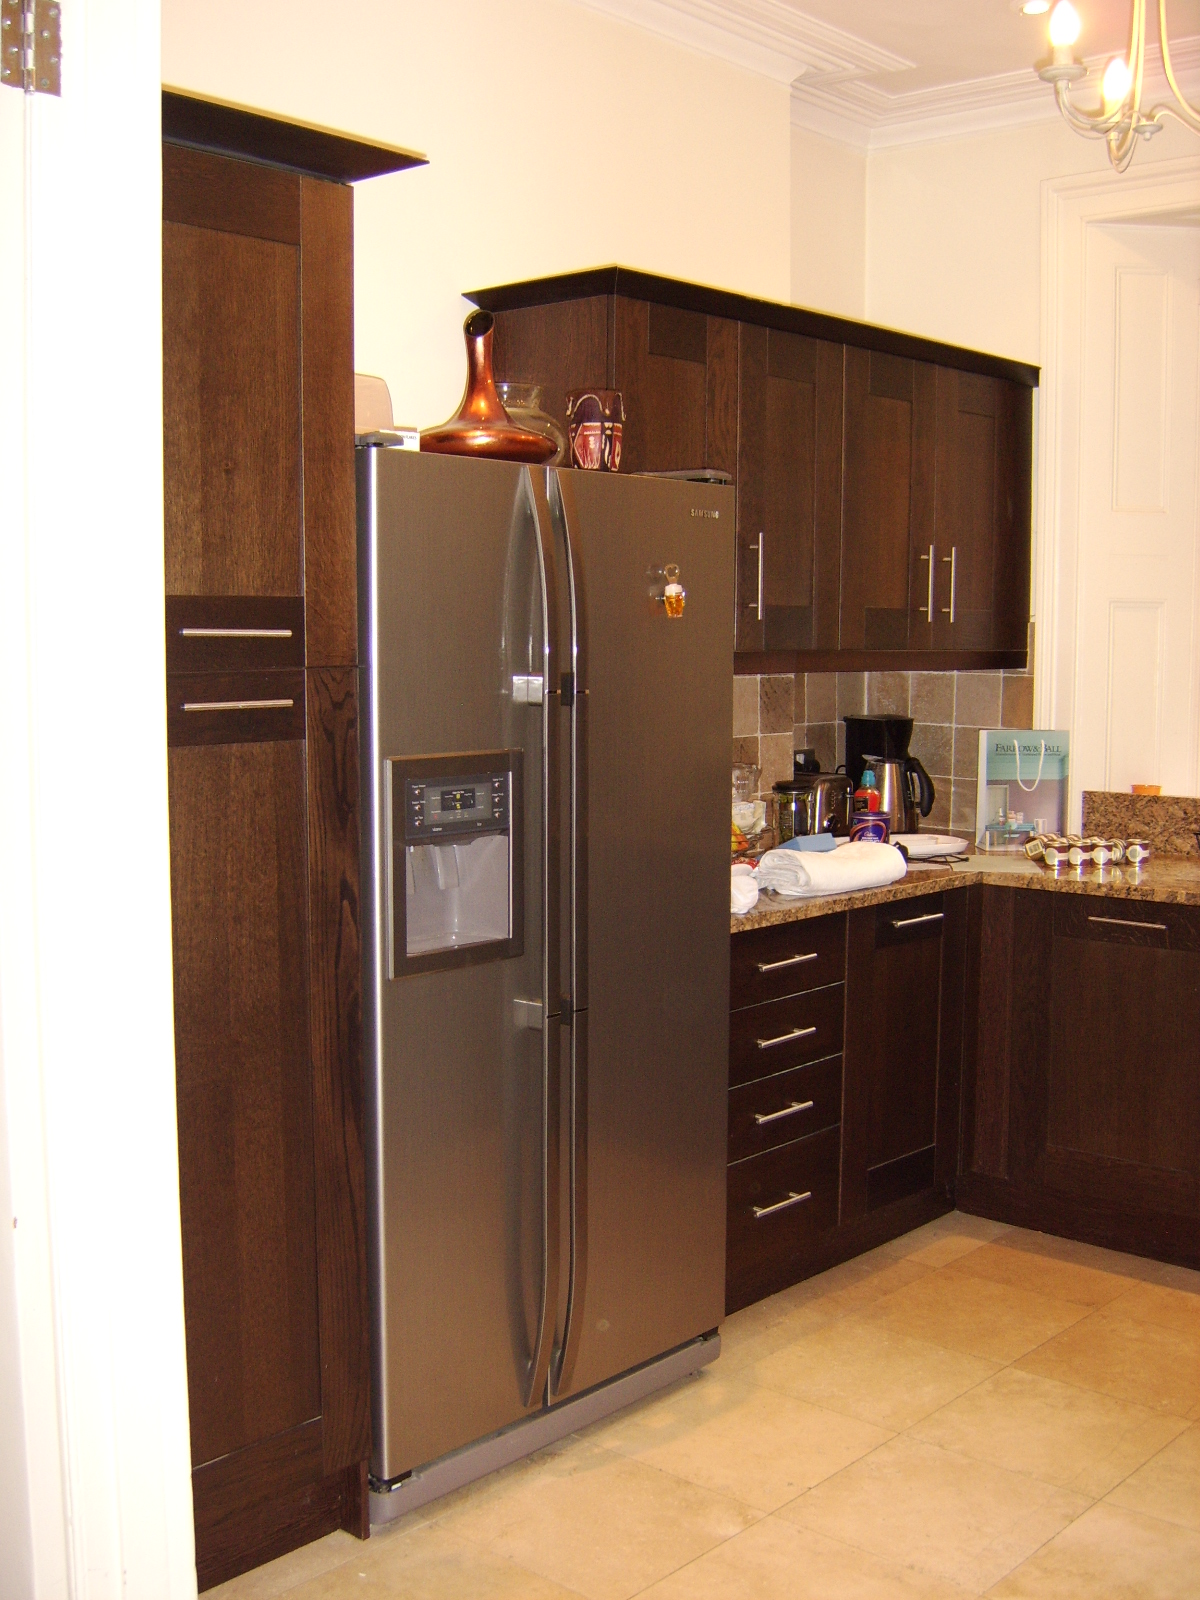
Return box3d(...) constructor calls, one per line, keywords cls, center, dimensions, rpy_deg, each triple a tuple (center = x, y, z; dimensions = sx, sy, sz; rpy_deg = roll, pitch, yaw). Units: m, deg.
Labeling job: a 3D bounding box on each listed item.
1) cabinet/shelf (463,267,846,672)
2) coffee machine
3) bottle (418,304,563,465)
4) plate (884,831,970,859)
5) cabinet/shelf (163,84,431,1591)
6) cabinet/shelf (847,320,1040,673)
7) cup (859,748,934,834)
box3d(cls="cabinet/shelf", center=(0.255, -0.683, 3.077), dimensions=(0.861, 0.901, 0.308), rpy_deg=(-12, 15, -41))
box3d(cls="coffee machine", center=(-0.198, 0.116, 2.036), dimensions=(0.214, 0.325, 0.179), rpy_deg=(-6, -16, 11))
box3d(cls="bottle", center=(-0.204, -0.693, 2.249), dimensions=(0.246, 0.292, 0.260), rpy_deg=(-2, 9, 1))
box3d(cls="plate", center=(0.932, 0.135, 3.637), dimensions=(0.274, 0.070, 0.199), rpy_deg=(0, 0, -8))
box3d(cls="cabinet/shelf", center=(-0.441, 0.112, 1.771), dimensions=(0.429, 1.402, 0.292), rpy_deg=(0, 0, -43))
box3d(cls="cabinet/shelf", center=(0.810, -0.756, 3.641), dimensions=(0.831, 0.846, 0.340), rpy_deg=(-6, 8, -40))
box3d(cls="cup", center=(0.864, -0.013, 3.813), dimensions=(0.265, 0.303, 0.167), rpy_deg=(6, 6, 40))
